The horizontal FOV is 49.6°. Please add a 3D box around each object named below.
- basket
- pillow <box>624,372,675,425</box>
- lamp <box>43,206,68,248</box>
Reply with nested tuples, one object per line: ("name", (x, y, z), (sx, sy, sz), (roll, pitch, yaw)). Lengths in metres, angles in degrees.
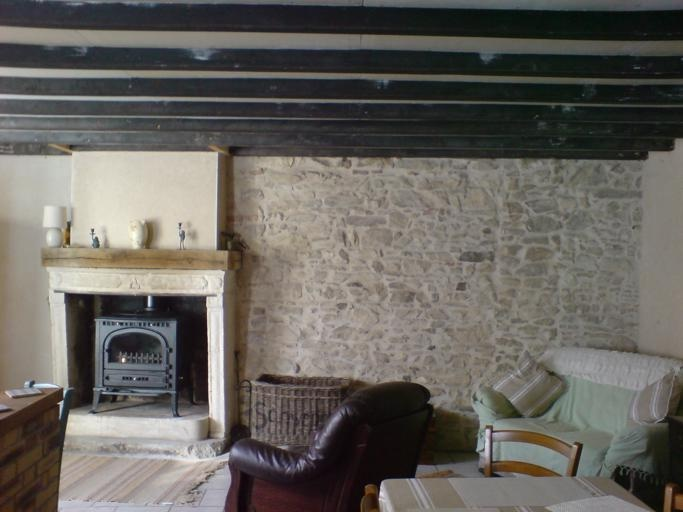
("basket", (-0.427, 1.405, 6.777), (0.850, 0.490, 0.538), (4, -10, 3))
("pillow", (2.534, 1.147, 5.983), (0.386, 0.395, 0.285), (-1, 1, 16))
("lamp", (-2.701, -0.275, 6.932), (0.202, 0.392, 0.163), (-1, 1, -21))
